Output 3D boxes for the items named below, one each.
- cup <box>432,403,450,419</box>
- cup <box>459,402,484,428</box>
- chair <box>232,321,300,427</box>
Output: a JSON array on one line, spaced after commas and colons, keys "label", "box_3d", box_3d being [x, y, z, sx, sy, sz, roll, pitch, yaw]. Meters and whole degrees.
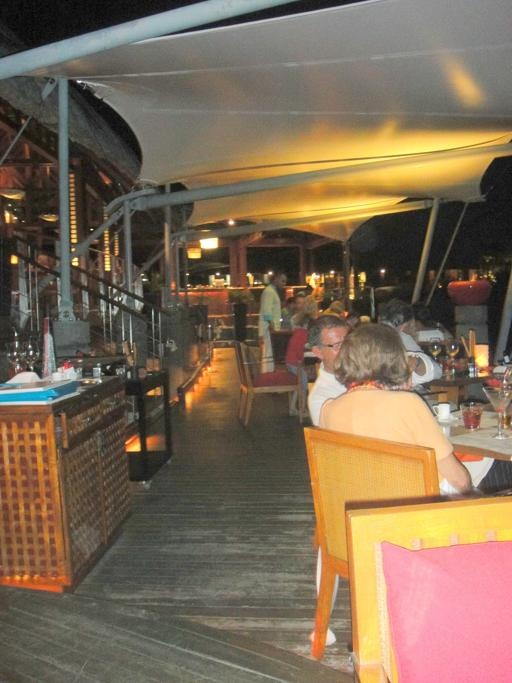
[{"label": "cup", "box_3d": [0.841, 0.324, 2.700, 0.084, 0.073, 0.050, 0, 1, 9]}, {"label": "cup", "box_3d": [0.896, 0.316, 2.522, 0.110, 0.109, 0.110, 0, -5, 0]}, {"label": "chair", "box_3d": [0.047, 0.421, 6.783, 0.892, 1.149, 0.925, -2, 3, -7]}]
